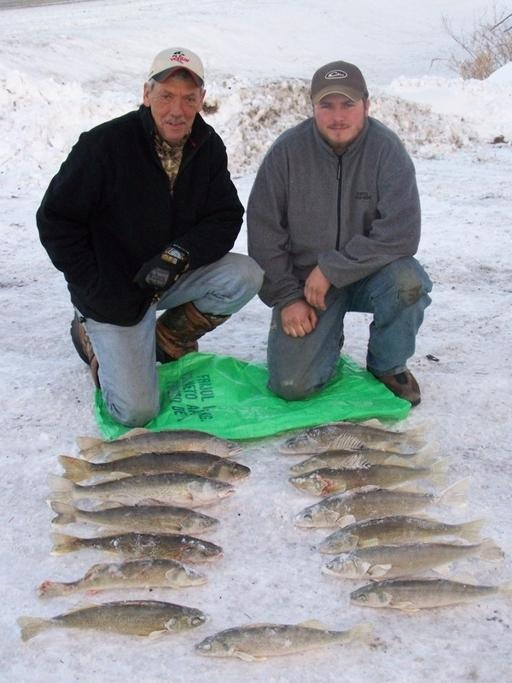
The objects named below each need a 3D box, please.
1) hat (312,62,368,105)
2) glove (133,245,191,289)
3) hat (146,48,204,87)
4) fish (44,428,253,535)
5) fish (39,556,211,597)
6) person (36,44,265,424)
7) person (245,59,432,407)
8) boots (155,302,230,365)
[{"bbox_3d":[0.375,-1.166,3.571,0.196,0.111,0.246,-2,10,10],"label":"hat"},{"bbox_3d":[-0.388,-0.312,3.489,0.249,0.099,0.158,-38,67,-7],"label":"glove"},{"bbox_3d":[-0.347,-1.165,3.347,0.245,0.166,0.215,-9,22,-11],"label":"hat"},{"bbox_3d":[-0.414,0.546,3.118,0.748,0.193,0.590,-2,20,4],"label":"fish"},{"bbox_3d":[-0.439,0.804,2.659,0.577,0.126,0.098,-1,12,-4],"label":"fish"},{"bbox_3d":[-0.502,-0.472,3.604,0.535,1.629,0.913,18,33,42],"label":"person"},{"bbox_3d":[0.369,-0.486,3.691,0.838,1.564,0.655,-4,24,4],"label":"person"},{"bbox_3d":[-0.358,-0.018,4.191,0.541,0.383,0.210,-3,18,3],"label":"boots"}]
